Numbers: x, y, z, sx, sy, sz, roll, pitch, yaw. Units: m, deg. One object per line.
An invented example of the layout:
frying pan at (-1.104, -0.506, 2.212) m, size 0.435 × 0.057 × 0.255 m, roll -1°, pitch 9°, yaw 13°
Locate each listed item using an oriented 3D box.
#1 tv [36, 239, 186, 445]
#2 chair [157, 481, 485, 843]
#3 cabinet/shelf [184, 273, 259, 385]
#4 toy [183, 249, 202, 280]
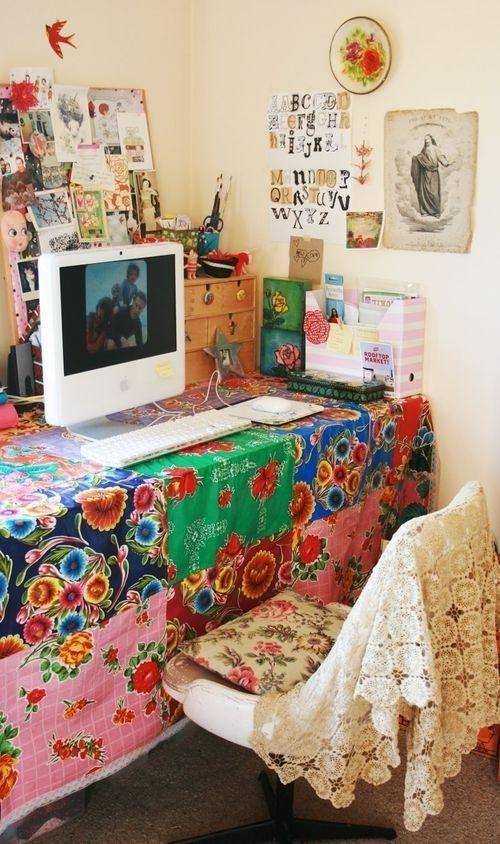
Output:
tv at (-0.294, -0.166, 1.303) m, size 0.064 × 0.366 × 0.384 m, roll 14°, pitch 26°, yaw 33°
chair at (0.040, 0.448, 1.276) m, size 0.598 × 0.781 × 0.523 m, roll 2°, pitch 10°, yaw 1°
cabinet/shelf at (-0.102, -0.310, 1.975) m, size 0.117 × 0.303 × 0.316 m, roll 9°, pitch 19°, yaw 31°
toy at (-0.185, -0.511, 1.969) m, size 0.038 × 0.102 × 0.089 m, roll 3°, pitch 2°, yaw 25°
